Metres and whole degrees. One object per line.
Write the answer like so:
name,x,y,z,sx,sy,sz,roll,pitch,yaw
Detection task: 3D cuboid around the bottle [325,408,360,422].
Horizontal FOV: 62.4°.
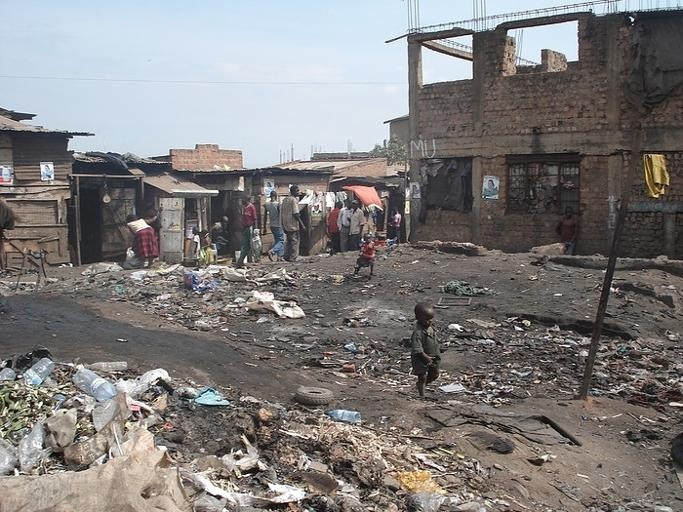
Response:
bottle,0.039,1.862,6.607,0.408,0.110,0.326,1,12,-1

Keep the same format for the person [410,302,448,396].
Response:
person,1.106,1.253,7.460,0.419,1.323,0.325,-2,15,-14

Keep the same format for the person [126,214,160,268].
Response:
person,-5.566,-0.375,15.818,0.593,1.289,0.672,-12,20,-42

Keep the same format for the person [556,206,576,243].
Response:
person,6.588,-0.920,16.315,0.420,1.023,0.566,1,14,-3
